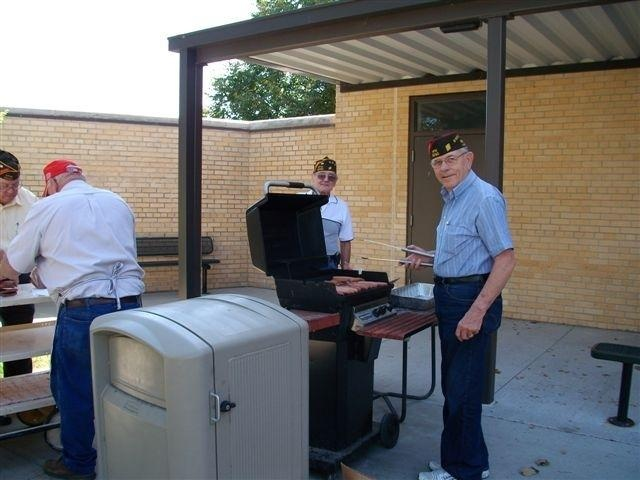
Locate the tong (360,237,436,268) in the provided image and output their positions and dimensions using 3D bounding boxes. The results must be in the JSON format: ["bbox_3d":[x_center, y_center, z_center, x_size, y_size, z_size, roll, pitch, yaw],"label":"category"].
[{"bbox_3d":[0.664,0.142,4.599,0.735,0.270,0.354,1,6,-1],"label":"tong"}]

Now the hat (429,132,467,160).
[{"bbox_3d":[0.910,-0.654,3.910,0.209,0.116,0.206,-25,12,-37],"label":"hat"}]

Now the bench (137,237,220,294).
[{"bbox_3d":[-2.452,0.446,9.801,1.363,1.034,0.766,-4,10,-24],"label":"bench"}]

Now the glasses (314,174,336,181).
[{"bbox_3d":[0.076,-0.597,5.316,0.204,0.072,0.087,-4,9,-26],"label":"glasses"}]

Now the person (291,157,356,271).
[{"bbox_3d":[0.002,-0.013,5.484,0.649,1.493,0.442,6,-2,-14],"label":"person"}]
